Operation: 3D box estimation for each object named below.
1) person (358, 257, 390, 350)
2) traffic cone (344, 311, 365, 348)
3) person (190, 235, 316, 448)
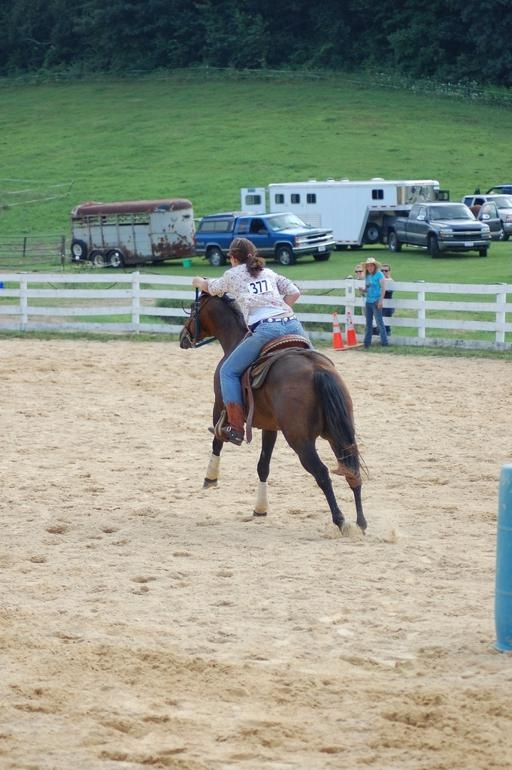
[{"bbox_3d":[1.459,-1.156,21.608,0.304,1.297,0.712,0,9,-3],"label":"person"},{"bbox_3d":[1.326,-0.783,22.249,0.370,0.523,0.382,-2,-7,-11],"label":"traffic cone"},{"bbox_3d":[-0.074,-0.452,13.478,0.834,1.648,0.832,-4,11,-19],"label":"person"}]
